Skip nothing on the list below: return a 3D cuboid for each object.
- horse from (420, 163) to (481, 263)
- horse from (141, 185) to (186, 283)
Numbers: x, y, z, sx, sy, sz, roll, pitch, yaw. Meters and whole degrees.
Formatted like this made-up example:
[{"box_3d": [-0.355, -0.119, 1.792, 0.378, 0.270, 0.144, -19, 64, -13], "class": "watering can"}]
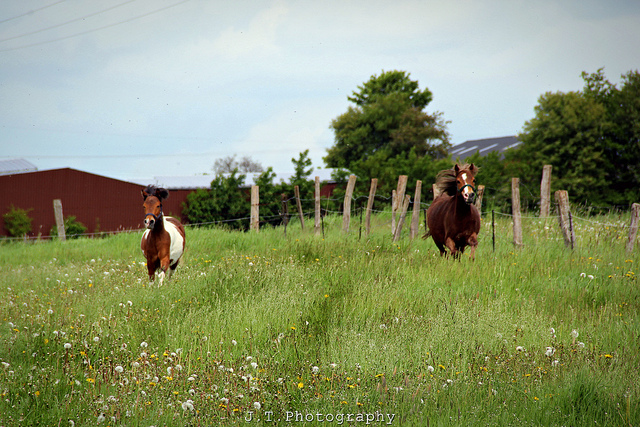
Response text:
[{"box_3d": [3.791, -0.060, 20.735, 1.232, 2.518, 2.800, -2, -1, 2], "class": "horse"}, {"box_3d": [-4.219, 0.479, 19.788, 0.810, 1.796, 1.775, -2, -1, 11], "class": "horse"}]
